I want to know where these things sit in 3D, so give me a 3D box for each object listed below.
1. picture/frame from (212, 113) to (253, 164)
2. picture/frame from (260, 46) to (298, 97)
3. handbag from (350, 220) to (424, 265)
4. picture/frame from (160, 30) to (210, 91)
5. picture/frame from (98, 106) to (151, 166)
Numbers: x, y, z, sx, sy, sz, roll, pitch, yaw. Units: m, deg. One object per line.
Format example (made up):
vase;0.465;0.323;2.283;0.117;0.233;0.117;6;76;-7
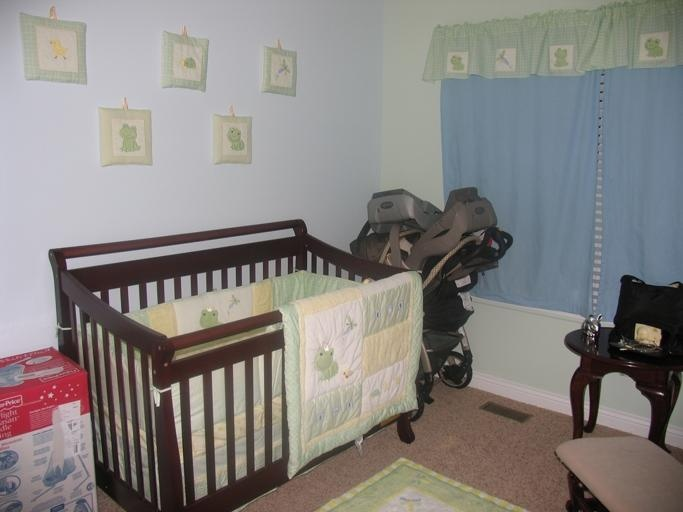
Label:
picture/frame;-0.637;-0.682;3.070;0.259;0.300;0.037;-8;12;-37
picture/frame;-0.389;-1.126;3.236;0.039;0.319;0.291;7;11;41
handbag;0.258;-0.067;3.369;0.320;0.281;0.109;8;-3;35
picture/frame;-0.837;-1.039;2.824;0.039;0.328;0.295;13;17;41
picture/frame;-1.092;-0.605;2.668;0.259;0.297;0.035;-11;17;-41
